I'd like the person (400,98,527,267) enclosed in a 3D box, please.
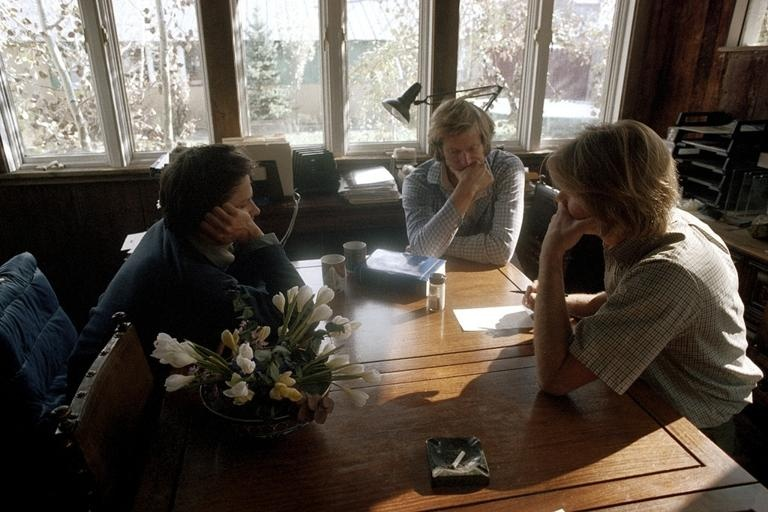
[{"bbox_3d":[0.388,-0.417,2.678,0.650,0.704,0.694,4,26,12],"label":"person"}]

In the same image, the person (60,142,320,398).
[{"bbox_3d":[-0.767,-0.213,2.550,1.058,1.716,0.734,-4,25,-20],"label":"person"}]

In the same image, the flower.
[{"bbox_3d":[-0.322,0.296,1.509,0.504,0.259,0.503,8,6,21],"label":"flower"}]

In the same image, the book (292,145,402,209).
[{"bbox_3d":[-0.280,-0.523,3.525,0.622,0.257,0.452,-5,25,-9],"label":"book"}]

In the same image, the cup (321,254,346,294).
[{"bbox_3d":[-0.209,0.070,2.285,0.102,0.142,0.160,-2,13,-1],"label":"cup"}]

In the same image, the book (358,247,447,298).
[{"bbox_3d":[0.058,0.051,2.258,0.282,0.075,0.206,11,28,21],"label":"book"}]
